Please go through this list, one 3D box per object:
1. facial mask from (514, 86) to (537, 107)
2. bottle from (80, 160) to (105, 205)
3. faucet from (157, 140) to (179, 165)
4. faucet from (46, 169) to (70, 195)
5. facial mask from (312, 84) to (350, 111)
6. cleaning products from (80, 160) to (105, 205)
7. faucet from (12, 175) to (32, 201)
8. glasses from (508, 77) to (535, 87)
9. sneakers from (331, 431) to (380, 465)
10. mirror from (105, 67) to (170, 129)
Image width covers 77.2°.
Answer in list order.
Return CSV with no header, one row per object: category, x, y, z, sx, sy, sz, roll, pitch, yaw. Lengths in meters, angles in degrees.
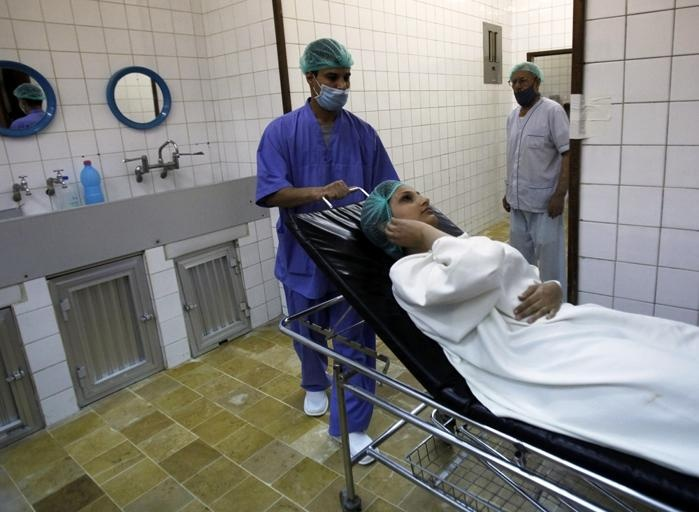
facial mask,1.286,-1.167,3.217,0.143,0.086,0.115,-31,21,-38
bottle,-1.881,-0.542,3.187,0.155,0.292,0.227,-16,25,-27
faucet,-1.433,-0.825,3.478,0.166,0.170,0.200,-14,24,-21
faucet,-2.060,-0.512,3.094,0.167,0.171,0.120,-18,25,-30
facial mask,-0.089,-0.790,2.187,0.116,0.097,0.122,27,23,29
cleaning products,-1.881,-0.542,3.187,0.155,0.292,0.227,-16,25,-27
faucet,-2.219,-0.448,2.967,0.118,0.170,0.092,-20,26,-33
glasses,1.274,-1.300,3.262,0.202,0.078,0.149,16,30,40
sneakers,0.033,0.977,2.303,0.262,0.116,0.099,9,14,40
mirror,-1.639,-1.222,3.358,0.040,0.463,0.448,7,15,42
